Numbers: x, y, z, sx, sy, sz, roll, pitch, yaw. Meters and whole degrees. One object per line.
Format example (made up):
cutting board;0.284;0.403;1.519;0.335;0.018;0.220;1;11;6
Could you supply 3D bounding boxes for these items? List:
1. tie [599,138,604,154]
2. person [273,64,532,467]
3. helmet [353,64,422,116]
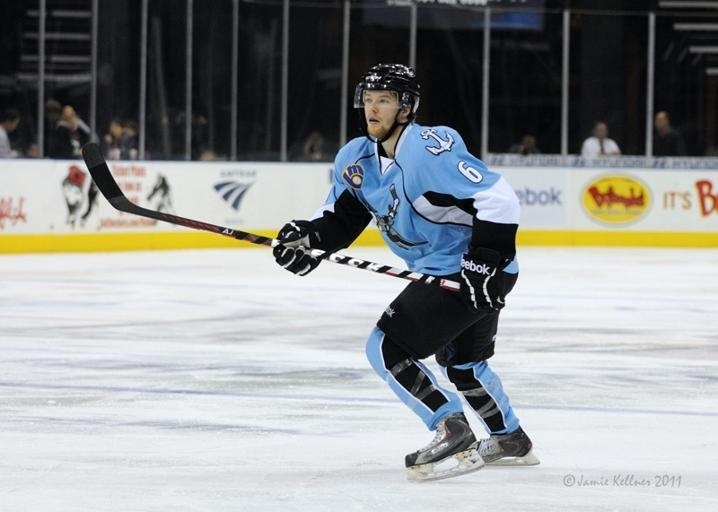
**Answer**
tie;2.952;-1.320;13.945;0.059;0.173;0.076;1;12;3
person;0.340;0.106;5.701;1.075;1.943;1.112;-4;6;-45
helmet;0.157;-0.817;5.561;0.326;0.252;0.254;4;-3;-34
